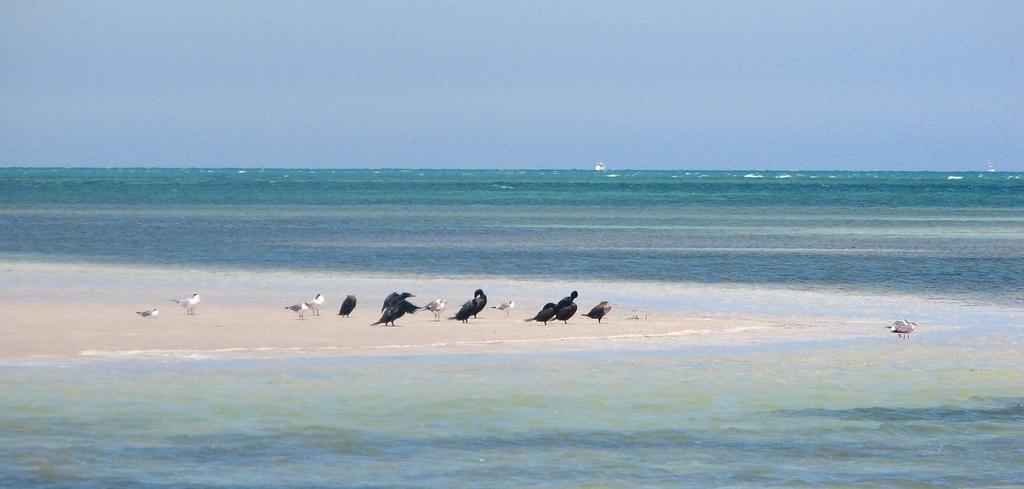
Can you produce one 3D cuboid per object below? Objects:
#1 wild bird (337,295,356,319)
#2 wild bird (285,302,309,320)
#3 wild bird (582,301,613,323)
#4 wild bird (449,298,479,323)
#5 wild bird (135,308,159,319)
[{"bbox_3d":[-9.148,3.397,87.915,0.853,1.184,1.315,4,-6,-7],"label":"wild bird"},{"bbox_3d":[-11.848,3.608,87.819,1.158,0.976,1.590,3,-5,-6],"label":"wild bird"},{"bbox_3d":[4.592,3.661,87.223,1.271,1.120,1.337,3,-6,-4],"label":"wild bird"},{"bbox_3d":[-2.579,3.599,87.175,1.158,1.252,1.252,4,-7,-15],"label":"wild bird"},{"bbox_3d":[-19.861,3.792,86.751,1.613,0.441,0.523,-14,6,33],"label":"wild bird"}]
